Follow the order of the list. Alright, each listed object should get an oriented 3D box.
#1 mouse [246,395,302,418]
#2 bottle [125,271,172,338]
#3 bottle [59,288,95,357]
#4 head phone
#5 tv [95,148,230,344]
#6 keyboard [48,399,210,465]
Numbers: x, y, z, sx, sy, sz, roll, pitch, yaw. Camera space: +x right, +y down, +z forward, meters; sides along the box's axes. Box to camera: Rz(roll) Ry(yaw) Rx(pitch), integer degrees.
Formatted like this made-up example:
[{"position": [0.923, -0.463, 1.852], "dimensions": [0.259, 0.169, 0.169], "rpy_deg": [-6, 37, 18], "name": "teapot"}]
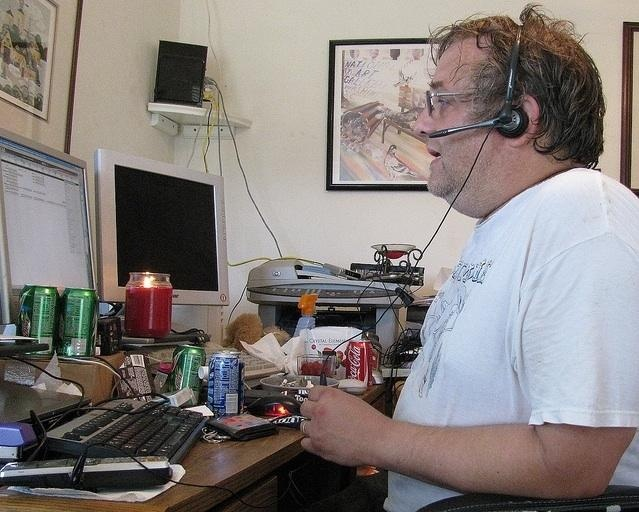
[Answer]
[{"position": [-0.089, 0.311, 1.058], "dimensions": [0.079, 0.028, 0.049], "rpy_deg": [2, -8, 16], "name": "mouse"}, {"position": [-0.424, 0.124, 1.286], "dimensions": [0.111, 0.164, 0.111], "rpy_deg": [-1, -6, 0], "name": "bottle"}, {"position": [-0.472, 0.131, 1.011], "dimensions": [0.067, 0.127, 0.043], "rpy_deg": [1, 0, -26], "name": "bottle"}, {"position": [0.267, -0.299, 0.908], "dimensions": [0.166, 0.196, 0.054], "rpy_deg": [7, 26, 29], "name": "head phone"}, {"position": [-0.464, 0.046, 1.554], "dimensions": [0.204, 0.626, 0.509], "rpy_deg": [-13, -12, 29], "name": "tv"}, {"position": [-0.285, 0.254, 0.835], "dimensions": [0.219, 0.057, 0.262], "rpy_deg": [2, 2, 4], "name": "keyboard"}]
